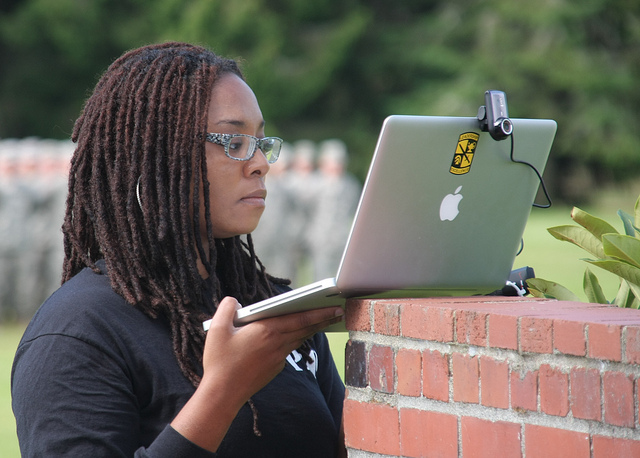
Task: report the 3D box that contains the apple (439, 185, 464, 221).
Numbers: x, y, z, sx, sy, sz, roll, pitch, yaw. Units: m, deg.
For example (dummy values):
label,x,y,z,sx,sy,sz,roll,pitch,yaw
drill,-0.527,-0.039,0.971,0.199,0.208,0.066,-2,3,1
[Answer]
label,x,y,z,sx,sy,sz,roll,pitch,yaw
apple,0.924,-0.184,8.681,0.183,0.229,0.080,-16,37,-31

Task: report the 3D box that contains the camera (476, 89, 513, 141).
label,x,y,z,sx,sy,sz,roll,pitch,yaw
camera,1.249,-0.812,8.741,0.264,0.291,0.299,10,32,9
